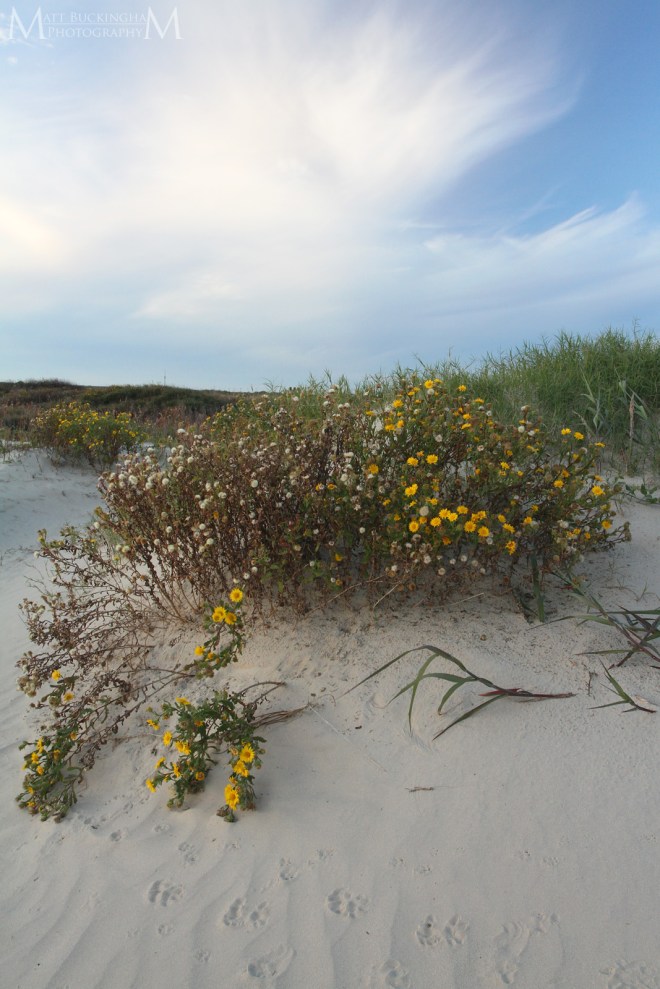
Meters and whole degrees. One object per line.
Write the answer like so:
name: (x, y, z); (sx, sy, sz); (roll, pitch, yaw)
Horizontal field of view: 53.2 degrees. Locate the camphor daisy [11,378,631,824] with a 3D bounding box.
camphor daisy: (-0.313, 0.360, 3.990); (3.419, 1.995, 2.650); (-3, 7, 11)
